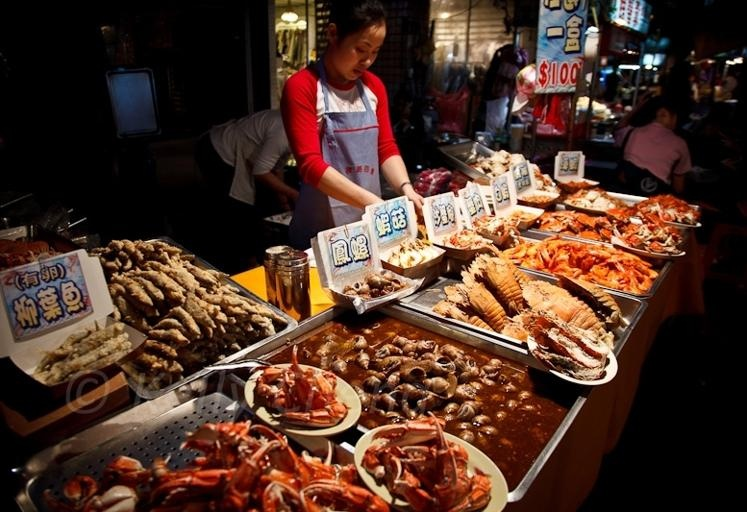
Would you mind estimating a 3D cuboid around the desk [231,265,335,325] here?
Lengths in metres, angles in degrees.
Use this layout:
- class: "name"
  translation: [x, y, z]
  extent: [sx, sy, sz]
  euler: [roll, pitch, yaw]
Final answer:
- class: "desk"
  translation: [-0.589, 0.195, 3.392]
  extent: [0.631, 0.582, 0.328]
  euler: [6, 24, 14]

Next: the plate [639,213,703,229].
- class: "plate"
  translation: [2.815, -0.292, 4.509]
  extent: [0.397, 0.055, 0.270]
  euler: [12, 14, 35]

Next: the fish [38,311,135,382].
- class: "fish"
  translation: [-1.402, 0.423, 2.286]
  extent: [0.352, 0.243, 0.353]
  euler: [16, 21, 39]

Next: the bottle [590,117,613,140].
- class: "bottle"
  translation: [3.382, -1.864, 7.054]
  extent: [0.274, 0.258, 0.274]
  euler: [0, 8, 34]

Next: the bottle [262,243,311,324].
- class: "bottle"
  translation: [-0.525, 0.186, 2.887]
  extent: [0.307, 0.430, 0.252]
  euler: [22, 32, 39]

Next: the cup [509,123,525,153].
- class: "cup"
  translation: [2.129, -1.719, 7.051]
  extent: [0.181, 0.376, 0.311]
  euler: [4, 23, 10]

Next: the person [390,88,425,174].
- class: "person"
  translation: [0.529, -2.005, 7.705]
  extent: [0.541, 1.287, 0.489]
  euler: [-6, 23, -10]

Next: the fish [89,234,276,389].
- class: "fish"
  translation: [-1.019, 0.227, 2.810]
  extent: [0.972, 0.799, 0.916]
  euler: [17, 25, 39]

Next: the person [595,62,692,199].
- class: "person"
  translation: [4.165, -1.851, 7.009]
  extent: [1.024, 1.618, 0.904]
  euler: [8, 21, 30]
